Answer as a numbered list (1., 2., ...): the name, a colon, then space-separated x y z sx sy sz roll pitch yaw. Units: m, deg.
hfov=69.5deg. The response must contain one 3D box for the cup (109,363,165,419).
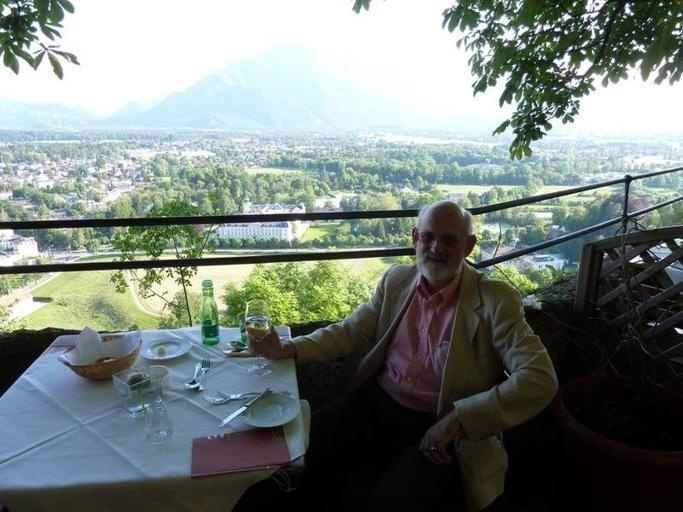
1. cup: -0.806 0.520 1.999 0.217 0.151 0.159 -20 24 -22

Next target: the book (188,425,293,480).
1. book: -0.374 0.717 1.795 0.225 0.032 0.154 -2 35 -12

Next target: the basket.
1. basket: -0.990 0.457 2.158 0.220 0.085 0.221 -8 13 -6

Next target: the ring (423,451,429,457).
1. ring: 0.365 0.854 2.128 0.024 0.015 0.006 10 19 29

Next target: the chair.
1. chair: 0.662 0.619 2.277 0.430 0.892 0.441 -6 17 -21

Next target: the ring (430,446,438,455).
1. ring: 0.396 0.832 2.113 0.039 0.032 0.011 9 18 26

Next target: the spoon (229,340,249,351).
1. spoon: -0.495 0.426 2.344 0.055 0.020 0.044 16 23 -12
